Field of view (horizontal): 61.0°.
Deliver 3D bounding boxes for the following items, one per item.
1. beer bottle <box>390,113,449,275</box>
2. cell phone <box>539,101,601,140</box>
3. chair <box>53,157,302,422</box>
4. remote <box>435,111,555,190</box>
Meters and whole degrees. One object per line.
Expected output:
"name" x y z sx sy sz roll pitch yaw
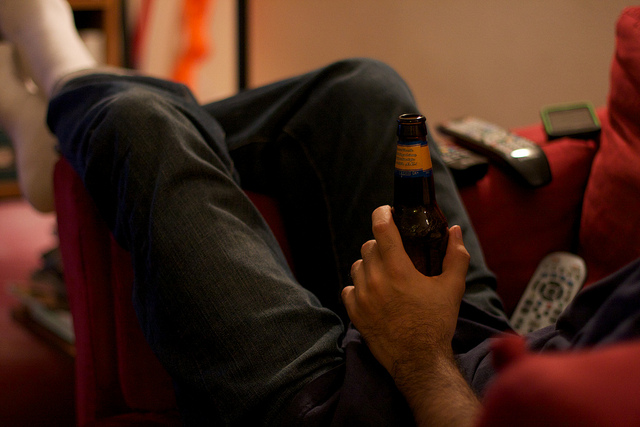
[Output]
"beer bottle" 0.153 -0.024 0.890 0.072 0.291 0.089 -2 5 -14
"cell phone" 0.645 -0.241 1.409 0.110 0.030 0.114 -6 54 2
"chair" -0.292 0.106 1.263 0.398 0.539 0.539 -3 2 -29
"remote" 0.418 -0.192 1.415 0.122 0.084 0.359 -19 37 -29
